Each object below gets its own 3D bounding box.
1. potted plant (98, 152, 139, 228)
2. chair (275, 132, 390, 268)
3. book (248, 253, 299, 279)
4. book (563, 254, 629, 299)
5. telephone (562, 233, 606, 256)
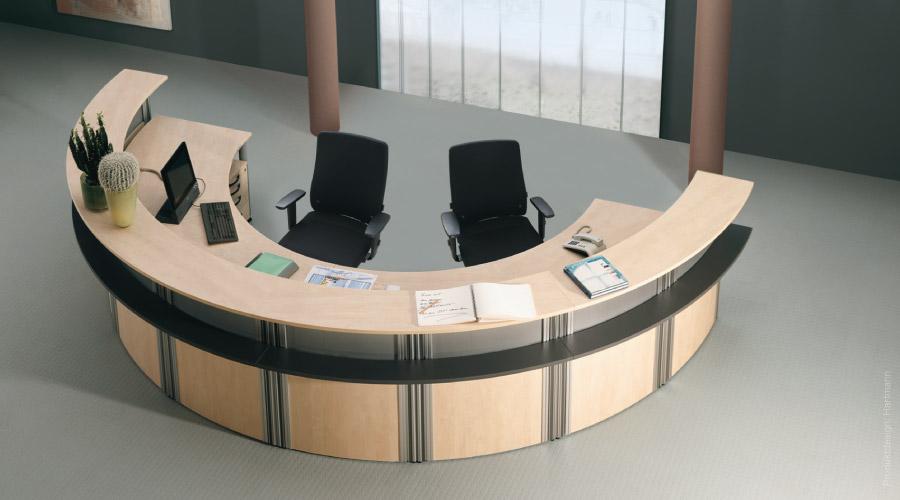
[{"bbox_3d":[-2.935,-0.533,5.797,0.383,0.624,0.265,20,23,27],"label":"potted plant"},{"bbox_3d":[-1.208,-0.253,6.718,1.205,1.562,1.119,-12,40,-18],"label":"chair"},{"bbox_3d":[-1.573,0.140,5.759,0.276,0.060,0.266,13,32,18],"label":"book"},{"bbox_3d":[1.208,0.221,5.379,0.391,0.069,0.347,-17,39,-22],"label":"book"},{"bbox_3d":[1.249,-0.042,5.967,0.301,0.108,0.221,19,41,24],"label":"telephone"}]
